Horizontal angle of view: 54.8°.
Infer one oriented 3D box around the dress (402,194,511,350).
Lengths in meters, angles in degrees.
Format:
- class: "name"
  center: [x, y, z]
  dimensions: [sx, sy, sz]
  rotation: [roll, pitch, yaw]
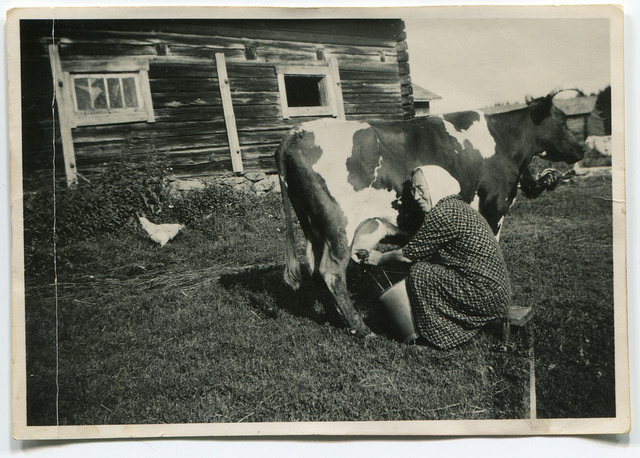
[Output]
- class: "dress"
  center: [1.378, 0.429, 6.290]
  dimensions: [1.011, 1.541, 0.299]
  rotation: [-7, 8, -15]
